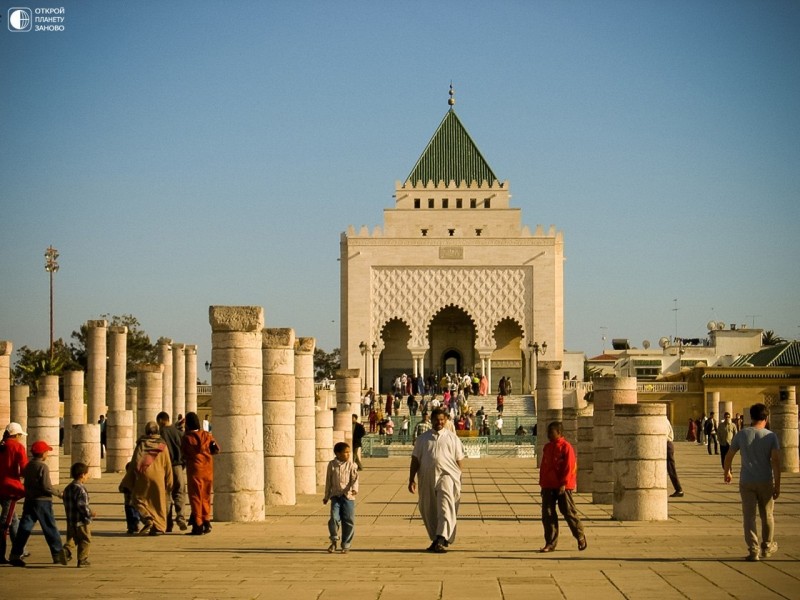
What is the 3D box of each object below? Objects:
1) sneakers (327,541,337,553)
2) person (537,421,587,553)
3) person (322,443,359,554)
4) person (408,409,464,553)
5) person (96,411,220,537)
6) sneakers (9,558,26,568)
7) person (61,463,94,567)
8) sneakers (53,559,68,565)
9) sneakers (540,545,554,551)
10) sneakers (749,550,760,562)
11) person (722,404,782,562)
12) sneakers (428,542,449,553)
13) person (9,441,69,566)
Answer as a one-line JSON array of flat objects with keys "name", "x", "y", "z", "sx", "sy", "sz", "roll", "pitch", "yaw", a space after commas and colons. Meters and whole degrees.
[{"name": "sneakers", "x": -0.736, "y": 2.700, "z": 14.081, "sx": 0.095, "sy": 0.182, "sz": 0.098, "roll": 1, "pitch": 3, "yaw": 0}, {"name": "person", "x": 1.832, "y": 2.072, "z": 14.556, "sx": 0.502, "sy": 1.405, "sz": 1.053, "roll": -2, "pitch": -6, "yaw": 7}, {"name": "person", "x": -0.657, "y": 2.175, "z": 14.306, "sx": 0.350, "sy": 1.180, "sz": 0.650, "roll": -1, "pitch": -6, "yaw": -3}, {"name": "person", "x": 0.396, "y": 1.983, "z": 14.185, "sx": 0.552, "sy": 1.516, "sz": 0.336, "roll": -1, "pitch": -6, "yaw": 2}, {"name": "person", "x": -2.802, "y": 2.098, "z": 15.648, "sx": 1.150, "sy": 1.432, "sz": 0.840, "roll": 0, "pitch": -6, "yaw": -7}, {"name": "sneakers", "x": -4.014, "y": 2.768, "z": 13.567, "sx": 0.113, "sy": 0.120, "sz": 0.086, "roll": 7, "pitch": 2, "yaw": 25}, {"name": "person", "x": -3.496, "y": 2.297, "z": 13.973, "sx": 0.293, "sy": 1.061, "sz": 1.176, "roll": 0, "pitch": -6, "yaw": -14}, {"name": "sneakers", "x": -3.569, "y": 2.753, "z": 13.581, "sx": 0.078, "sy": 0.068, "sz": 0.245, "roll": 4, "pitch": -7, "yaw": -39}, {"name": "sneakers", "x": 1.594, "y": 2.699, "z": 13.998, "sx": 0.151, "sy": 0.076, "sz": 0.113, "roll": -1, "pitch": -6, "yaw": -1}, {"name": "sneakers", "x": 3.642, "y": 2.650, "z": 13.284, "sx": 0.111, "sy": 0.110, "sz": 0.071, "roll": 0, "pitch": -1, "yaw": -1}, {"name": "person", "x": 3.849, "y": 1.941, "z": 14.130, "sx": 0.575, "sy": 1.631, "sz": 1.753, "roll": -2, "pitch": -6, "yaw": 15}, {"name": "sneakers", "x": 0.405, "y": 2.668, "z": 13.994, "sx": 0.204, "sy": 0.125, "sz": 0.109, "roll": 0, "pitch": -6, "yaw": -5}, {"name": "person", "x": -3.902, "y": 2.179, "z": 13.946, "sx": 0.578, "sy": 1.289, "sz": 0.974, "roll": 1, "pitch": -6, "yaw": -17}]
